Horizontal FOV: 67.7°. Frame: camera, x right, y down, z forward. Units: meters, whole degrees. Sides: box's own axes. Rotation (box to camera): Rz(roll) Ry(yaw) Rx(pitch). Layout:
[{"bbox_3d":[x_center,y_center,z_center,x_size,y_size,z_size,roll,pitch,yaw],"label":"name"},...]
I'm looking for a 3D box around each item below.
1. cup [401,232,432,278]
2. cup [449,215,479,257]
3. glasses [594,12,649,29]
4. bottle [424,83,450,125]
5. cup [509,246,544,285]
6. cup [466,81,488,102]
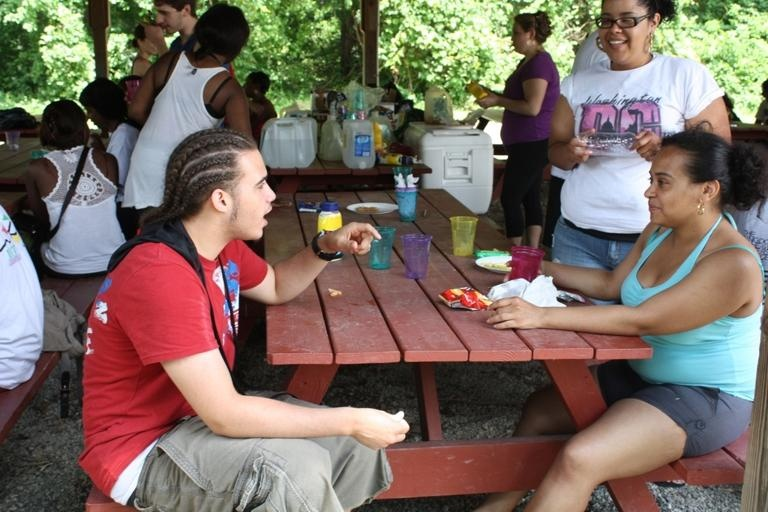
[{"bbox_3d":[0.136,-0.002,2.406,0.197,0.207,0.166,-1,6,-2],"label":"cup"},{"bbox_3d":[0.322,-0.088,2.678,0.193,0.181,0.170,-1,4,-9],"label":"cup"},{"bbox_3d":[1.053,-1.050,2.591,0.108,0.068,0.245,-17,22,-42],"label":"glasses"},{"bbox_3d":[0.544,-1.498,5.714,0.286,0.349,0.681,0,17,6],"label":"bottle"},{"bbox_3d":[0.601,0.031,2.352,0.138,0.134,0.136,5,22,-2],"label":"cup"},{"bbox_3d":[0.794,-1.377,4.830,0.174,0.142,0.247,1,17,7],"label":"cup"}]
